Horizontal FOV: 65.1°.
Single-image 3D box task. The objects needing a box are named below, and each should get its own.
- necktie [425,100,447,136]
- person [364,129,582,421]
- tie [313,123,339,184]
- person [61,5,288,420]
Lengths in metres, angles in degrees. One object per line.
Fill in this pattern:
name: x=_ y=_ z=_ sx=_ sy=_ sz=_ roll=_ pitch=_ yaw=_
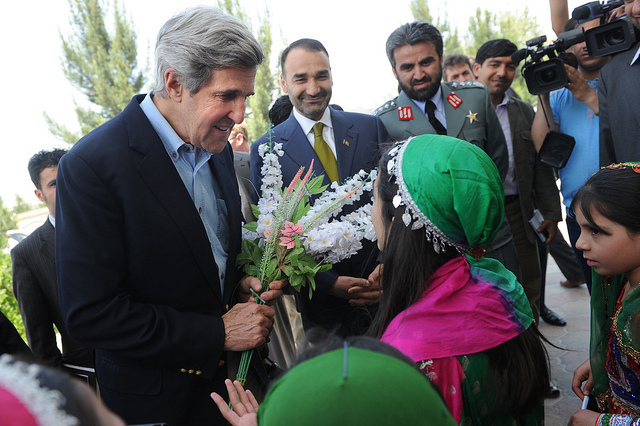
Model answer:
necktie: x=0.965 y=-0.830 z=4.291 sx=0.125 sy=0.312 sz=0.138 roll=-11 pitch=5 yaw=-13
person: x=0.607 y=0.359 z=2.433 sx=0.778 sy=1.493 sz=0.556 roll=-8 pitch=6 yaw=22
tie: x=0.038 y=-0.447 z=3.865 sx=0.117 sy=0.596 sz=0.122 roll=-7 pitch=-18 yaw=3
person: x=-0.829 y=0.047 z=2.828 sx=1.181 sy=2.057 sz=0.550 roll=-11 pitch=5 yaw=-10
